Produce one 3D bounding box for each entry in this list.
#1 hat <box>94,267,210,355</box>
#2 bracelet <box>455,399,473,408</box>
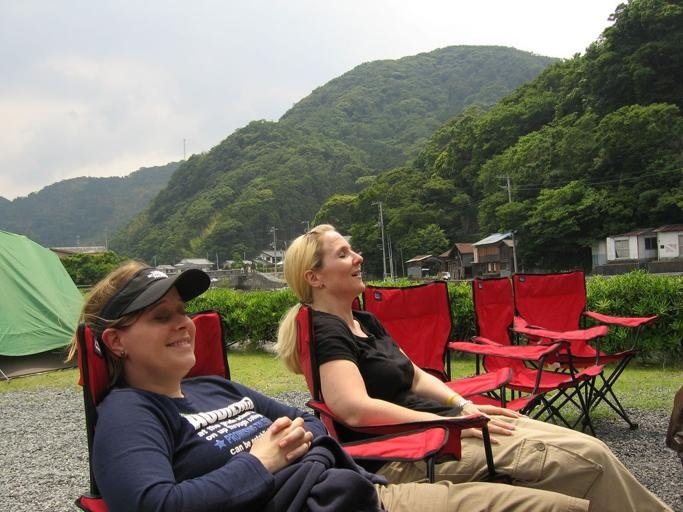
[{"bbox_3d":[-0.852,0.186,2.401,0.477,0.163,0.279,-31,-9,16],"label":"hat"},{"bbox_3d":[0.670,0.804,3.046,0.045,0.026,0.057,-2,1,19],"label":"bracelet"}]
